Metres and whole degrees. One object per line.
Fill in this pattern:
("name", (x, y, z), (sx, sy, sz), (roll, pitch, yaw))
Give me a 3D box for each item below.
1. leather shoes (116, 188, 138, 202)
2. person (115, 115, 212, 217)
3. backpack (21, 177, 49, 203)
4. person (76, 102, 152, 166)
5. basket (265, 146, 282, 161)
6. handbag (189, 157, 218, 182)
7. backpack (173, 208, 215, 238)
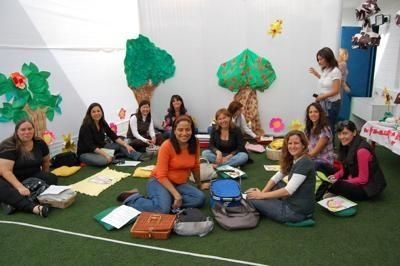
("leather shoes", (-1.174, 0.974, 4.285), (0.399, 0.170, 0.143), (-12, 6, -16))
("person", (-0.481, 0.508, 3.836), (1.167, 1.360, 0.665), (-7, 22, -1))
("backpack", (-2.589, 0.864, 4.194), (0.305, 0.245, 0.322), (-21, 26, -32))
("person", (-1.930, 0.002, 5.901), (1.542, 1.267, 1.058), (3, 13, 4))
("basket", (1.536, 0.458, 5.576), (0.391, 0.255, 0.367), (1, -2, 2))
("handbag", (0.042, 0.673, 5.032), (0.642, 0.361, 0.687), (2, 25, -7))
("backpack", (-0.092, 1.210, 3.627), (0.528, 0.227, 0.386), (-4, 22, 7))
